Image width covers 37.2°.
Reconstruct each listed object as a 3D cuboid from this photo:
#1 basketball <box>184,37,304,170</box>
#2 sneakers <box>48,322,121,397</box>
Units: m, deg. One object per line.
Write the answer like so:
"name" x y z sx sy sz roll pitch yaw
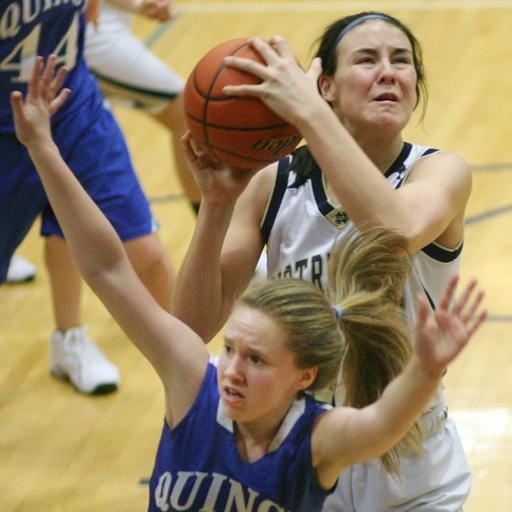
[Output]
"basketball" -0.068 -0.321 1.633 0.178 0.202 0.198 21 34 23
"sneakers" -0.640 0.363 2.879 0.295 0.205 0.162 24 30 30
